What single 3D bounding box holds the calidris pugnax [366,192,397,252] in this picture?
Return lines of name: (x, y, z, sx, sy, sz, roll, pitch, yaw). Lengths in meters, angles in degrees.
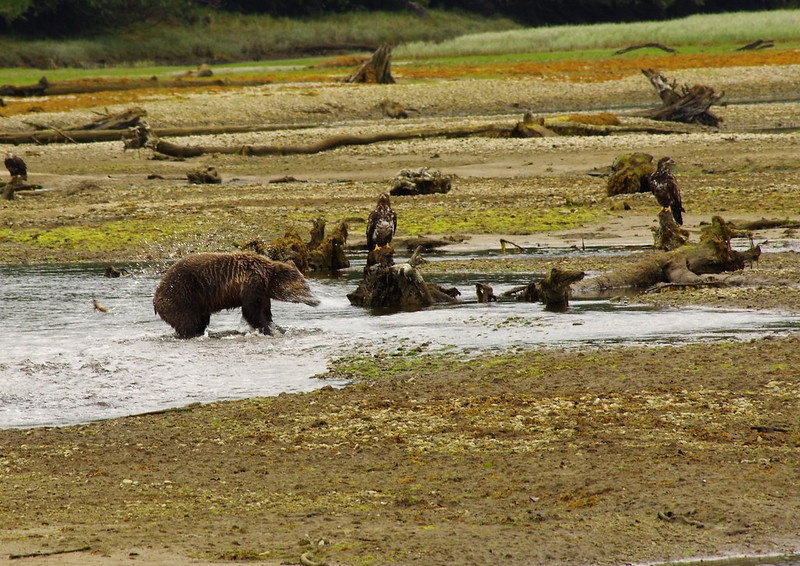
calidris pugnax: (-0.500, -1.602, 43.299, 0.815, 1.521, 0.735, -10, 12, -11)
